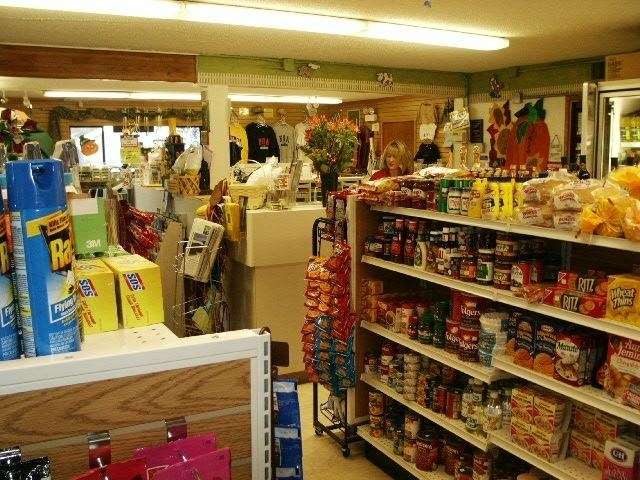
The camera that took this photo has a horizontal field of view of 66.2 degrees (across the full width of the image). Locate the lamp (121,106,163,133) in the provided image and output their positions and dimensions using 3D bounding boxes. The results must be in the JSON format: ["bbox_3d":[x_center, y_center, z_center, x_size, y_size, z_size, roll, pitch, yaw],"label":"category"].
[{"bbox_3d":[-4.375,-3.000,11.973,1.260,0.511,1.262,-9,18,-13],"label":"lamp"}]

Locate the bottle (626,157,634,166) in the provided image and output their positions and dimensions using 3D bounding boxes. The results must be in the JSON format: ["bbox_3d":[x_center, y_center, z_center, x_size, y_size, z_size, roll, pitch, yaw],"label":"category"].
[{"bbox_3d":[3.565,-0.917,5.655,0.088,0.082,0.157,9,12,30],"label":"bottle"}]

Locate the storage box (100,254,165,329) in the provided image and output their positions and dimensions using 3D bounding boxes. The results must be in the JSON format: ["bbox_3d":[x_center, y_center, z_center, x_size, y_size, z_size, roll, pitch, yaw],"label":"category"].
[{"bbox_3d":[-0.734,0.160,1.881,0.199,0.369,0.244,-7,7,-26],"label":"storage box"}]

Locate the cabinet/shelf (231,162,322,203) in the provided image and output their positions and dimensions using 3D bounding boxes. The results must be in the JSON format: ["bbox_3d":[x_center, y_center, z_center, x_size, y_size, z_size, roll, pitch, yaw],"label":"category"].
[{"bbox_3d":[-0.530,-0.656,5.420,0.688,0.330,0.917,-4,10,-29],"label":"cabinet/shelf"}]

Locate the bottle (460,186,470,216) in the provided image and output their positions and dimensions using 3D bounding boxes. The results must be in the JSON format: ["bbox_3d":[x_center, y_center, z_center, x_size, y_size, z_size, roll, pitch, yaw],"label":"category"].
[{"bbox_3d":[0.863,-0.236,2.904,0.034,0.167,0.102,1,10,-13],"label":"bottle"}]

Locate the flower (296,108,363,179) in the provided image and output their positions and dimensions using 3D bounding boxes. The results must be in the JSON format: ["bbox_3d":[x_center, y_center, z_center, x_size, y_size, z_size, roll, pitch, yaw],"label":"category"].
[{"bbox_3d":[0.092,-0.928,4.777,0.544,0.564,0.376,2,10,-4],"label":"flower"}]

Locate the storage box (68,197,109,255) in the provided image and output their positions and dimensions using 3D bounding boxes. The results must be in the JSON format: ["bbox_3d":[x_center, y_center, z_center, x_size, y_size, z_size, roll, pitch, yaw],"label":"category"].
[{"bbox_3d":[-0.912,-0.054,1.939,0.132,0.223,0.071,-3,12,-31],"label":"storage box"}]

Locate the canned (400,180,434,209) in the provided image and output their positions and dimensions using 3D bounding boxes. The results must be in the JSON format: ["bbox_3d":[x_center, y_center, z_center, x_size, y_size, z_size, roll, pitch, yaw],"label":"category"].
[{"bbox_3d":[0.646,-0.305,3.265,0.191,0.170,0.190,0,9,-10],"label":"canned"}]

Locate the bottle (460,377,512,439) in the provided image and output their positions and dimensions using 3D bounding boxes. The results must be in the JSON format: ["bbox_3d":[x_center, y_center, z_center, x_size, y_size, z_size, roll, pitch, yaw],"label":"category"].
[{"bbox_3d":[0.987,1.003,2.964,0.196,0.341,0.332,-4,13,-35],"label":"bottle"}]

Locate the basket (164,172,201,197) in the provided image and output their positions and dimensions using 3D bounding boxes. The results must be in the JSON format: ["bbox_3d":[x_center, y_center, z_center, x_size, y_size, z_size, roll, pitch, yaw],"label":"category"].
[{"bbox_3d":[-1.593,-0.663,5.729,0.243,0.217,0.393,-8,17,-40],"label":"basket"}]

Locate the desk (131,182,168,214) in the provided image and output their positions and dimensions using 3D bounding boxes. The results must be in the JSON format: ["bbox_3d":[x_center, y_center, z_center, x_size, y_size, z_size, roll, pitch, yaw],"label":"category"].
[{"bbox_3d":[-2.307,-0.581,6.705,0.297,0.378,0.541,-5,10,-33],"label":"desk"}]

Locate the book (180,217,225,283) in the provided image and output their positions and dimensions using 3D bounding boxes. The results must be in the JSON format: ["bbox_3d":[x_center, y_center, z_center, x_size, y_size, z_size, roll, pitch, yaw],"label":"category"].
[{"bbox_3d":[-0.993,0.089,4.392,0.396,0.547,0.159,16,7,32],"label":"book"}]
